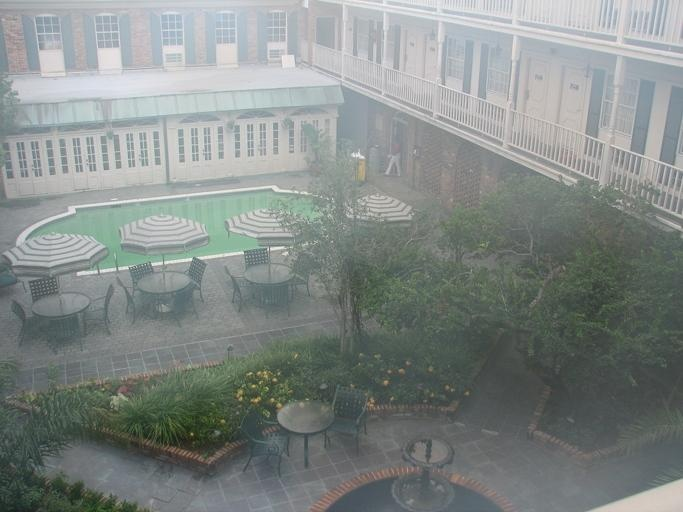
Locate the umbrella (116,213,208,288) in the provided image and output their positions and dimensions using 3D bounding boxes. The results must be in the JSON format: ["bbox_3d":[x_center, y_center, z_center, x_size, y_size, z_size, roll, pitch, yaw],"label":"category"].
[{"bbox_3d":[-5.231,-0.113,15.316,1.590,1.133,1.644,31,41,32],"label":"umbrella"}]

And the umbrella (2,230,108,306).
[{"bbox_3d":[-7.709,-0.044,13.871,2.250,0.715,1.492,-3,29,1],"label":"umbrella"}]

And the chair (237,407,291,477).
[{"bbox_3d":[-1.451,3.546,9.778,0.840,1.072,0.812,3,8,2],"label":"chair"}]

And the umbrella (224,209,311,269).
[{"bbox_3d":[-2.347,-0.922,15.068,1.633,1.093,1.657,6,29,-1],"label":"umbrella"}]

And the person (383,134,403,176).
[{"bbox_3d":[2.659,-5.036,25.891,0.765,1.753,1.243,1,29,8],"label":"person"}]

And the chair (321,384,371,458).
[{"bbox_3d":[0.121,3.288,10.157,0.895,1.135,0.913,-5,3,40],"label":"chair"}]

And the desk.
[{"bbox_3d":[-0.684,3.074,9.723,1.073,0.830,1.100,23,36,37],"label":"desk"}]
